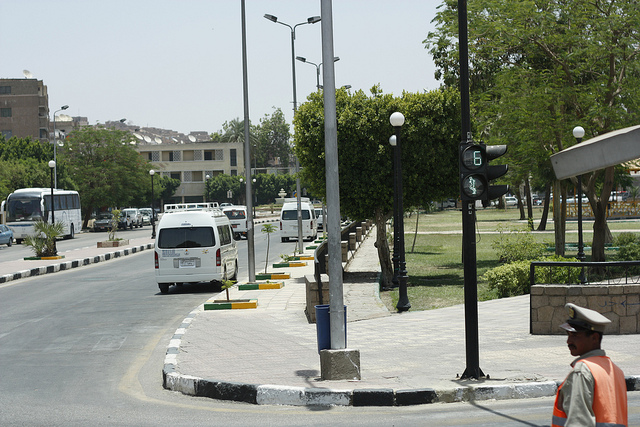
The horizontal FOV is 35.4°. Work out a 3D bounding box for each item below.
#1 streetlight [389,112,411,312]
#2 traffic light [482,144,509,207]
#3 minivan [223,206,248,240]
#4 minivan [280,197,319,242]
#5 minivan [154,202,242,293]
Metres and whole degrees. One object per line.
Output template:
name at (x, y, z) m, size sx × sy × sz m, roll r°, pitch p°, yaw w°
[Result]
streetlight at (2.520, 0.057, 31.702) m, size 0.644 × 6.508 × 0.658 m, roll -2°, pitch 9°, yaw 6°
traffic light at (4.259, -0.873, 24.404) m, size 0.695 × 1.500 × 0.314 m, roll -3°, pitch -1°, yaw 6°
minivan at (-5.259, 0.687, 60.206) m, size 1.876 × 1.715 × 3.003 m, roll -1°, pitch 6°, yaw -3°
minivan at (-1.244, 0.432, 57.439) m, size 1.838 × 1.966 × 4.798 m, roll 0°, pitch 0°, yaw 2°
minivan at (-4.525, 1.346, 36.852) m, size 2.664 × 2.681 × 5.104 m, roll -2°, pitch 2°, yaw 4°
